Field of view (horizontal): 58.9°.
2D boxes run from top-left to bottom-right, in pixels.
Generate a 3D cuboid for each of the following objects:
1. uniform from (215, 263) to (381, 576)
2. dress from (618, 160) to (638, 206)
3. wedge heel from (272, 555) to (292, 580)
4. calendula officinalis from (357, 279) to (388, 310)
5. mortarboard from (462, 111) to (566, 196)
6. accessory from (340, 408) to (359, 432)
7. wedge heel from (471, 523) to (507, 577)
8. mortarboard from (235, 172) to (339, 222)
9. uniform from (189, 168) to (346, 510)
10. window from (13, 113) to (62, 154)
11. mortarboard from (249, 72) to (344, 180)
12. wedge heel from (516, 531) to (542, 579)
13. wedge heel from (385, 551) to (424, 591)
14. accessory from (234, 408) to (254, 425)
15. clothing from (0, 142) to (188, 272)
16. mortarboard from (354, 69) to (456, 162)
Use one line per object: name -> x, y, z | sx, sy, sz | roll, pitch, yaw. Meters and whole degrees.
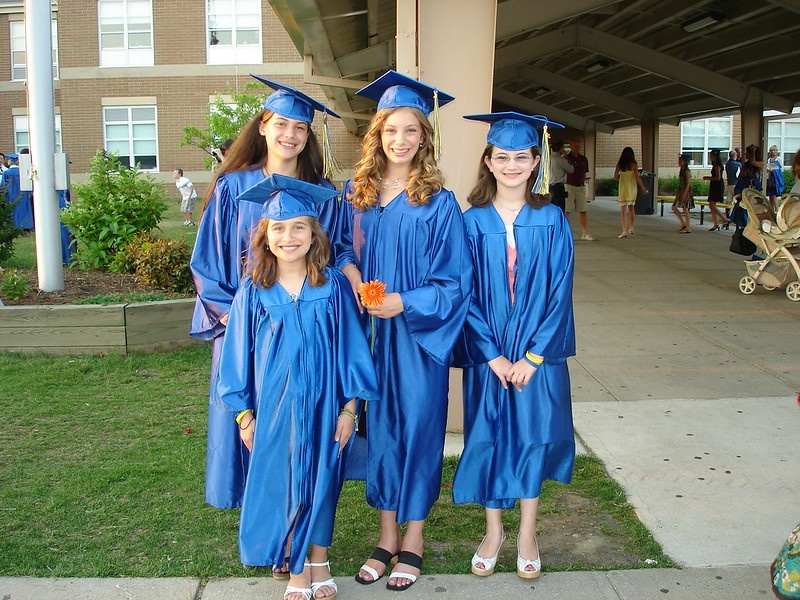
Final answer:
uniform -> -0.476, 0.557, 3.376 | 0.743, 1.375, 0.412 | -2, 9, -12
dress -> 4.141, -2.053, 12.905 | 0.293, 0.652, 0.348 | 2, 9, 15
wedge heel -> -0.589, 1.325, 3.501 | 0.059, 0.053, 0.171 | 0, 1, -5
calendula officinalis -> -0.133, -0.027, 3.369 | 0.127, 0.129, 0.047 | 10, 5, -4
mortarboard -> 0.568, -0.762, 3.717 | 0.520, 0.394, 0.573 | 0, 4, 8
accessory -> -0.242, 0.572, 3.423 | 0.080, 0.108, 0.060 | 7, 11, 23
wedge heel -> 0.451, 1.288, 3.629 | 0.119, 0.082, 0.383 | 1, 17, 20
mortarboard -> -0.523, -0.487, 3.379 | 0.300, 0.115, 0.289 | 13, -23, -38
uniform -> -0.887, 0.083, 3.918 | 0.462, 1.631, 0.743 | 25, 27, 36
window -> -11.380, -5.013, 22.293 | 1.448, 1.644, 0.093 | -11, 39, -35
mortarboard -> -0.519, -0.916, 3.743 | 0.544, 0.424, 0.507 | -1, 3, 1
wedge heel -> 0.647, 1.290, 3.596 | 0.114, 0.074, 0.367 | 2, 18, 5
wedge heel -> 0.029, 1.326, 3.477 | 0.134, 0.127, 0.211 | 3, 9, 20
accessory -> -0.743, 0.546, 3.345 | 0.068, 0.087, 0.046 | -4, 39, -26
clothing -> -3.685, -1.120, 8.752 | 2.264, 1.436, 1.016 | 7, 11, 37
mortarboard -> 0.016, -1.017, 3.614 | 0.523, 0.137, 0.505 | 15, -21, -37
